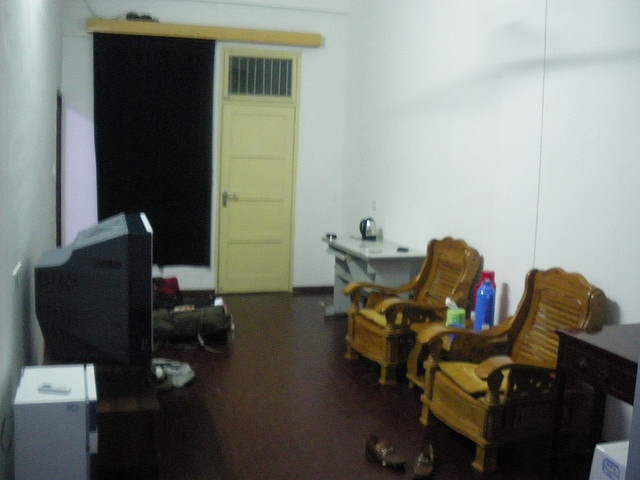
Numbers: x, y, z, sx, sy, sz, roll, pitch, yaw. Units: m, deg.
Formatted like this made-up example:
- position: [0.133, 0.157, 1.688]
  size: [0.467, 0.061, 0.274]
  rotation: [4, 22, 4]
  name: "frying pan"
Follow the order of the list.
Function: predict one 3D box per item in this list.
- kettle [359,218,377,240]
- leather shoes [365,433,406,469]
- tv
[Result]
- position: [0.487, -0.115, 5.903]
  size: [0.209, 0.249, 0.168]
  rotation: [-4, 10, -26]
  name: "kettle"
- position: [0.400, 1.308, 3.479]
  size: [0.104, 0.112, 0.273]
  rotation: [-1, -2, -28]
  name: "leather shoes"
- position: [-1.322, 0.272, 3.434]
  size: [0.641, 0.798, 0.911]
  rotation: [0, 6, -17]
  name: "tv"
